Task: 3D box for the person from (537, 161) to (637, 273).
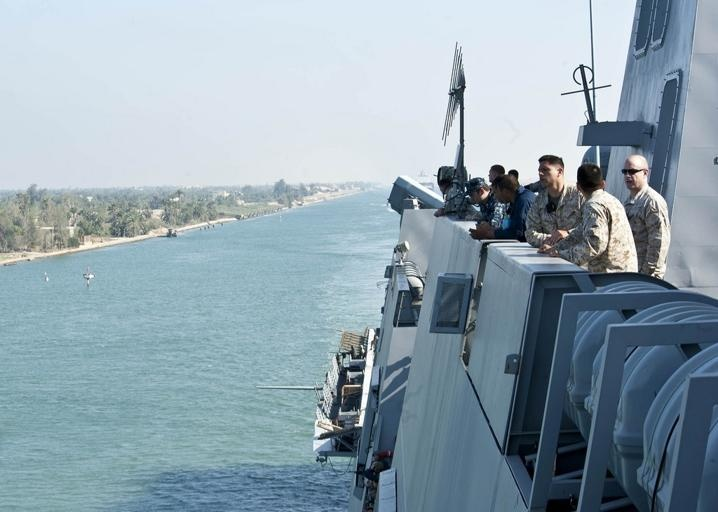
[{"bbox_3d":[3.787,-0.576,16.077,1.401,1.774,0.595,-8,11,-25],"label":"person"}]
